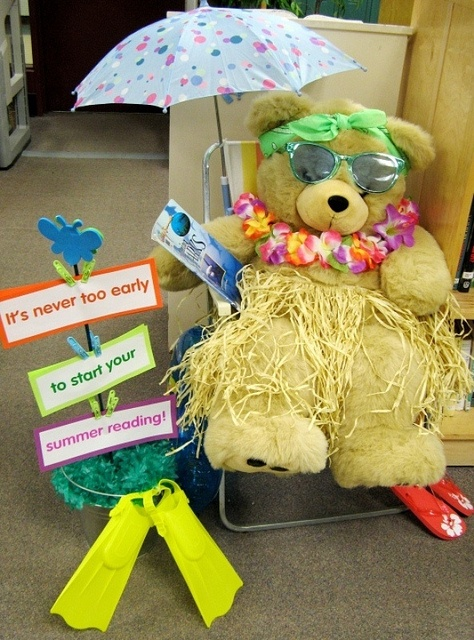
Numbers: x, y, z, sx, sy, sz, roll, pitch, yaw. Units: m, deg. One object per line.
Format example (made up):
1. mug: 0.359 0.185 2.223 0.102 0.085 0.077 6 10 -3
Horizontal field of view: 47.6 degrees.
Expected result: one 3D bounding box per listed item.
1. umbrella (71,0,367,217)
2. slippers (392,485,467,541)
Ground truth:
1. umbrella: -0.053 -0.544 1.105 0.476 0.161 0.480 25 43 27
2. slippers: 0.473 0.460 1.315 0.109 0.043 0.178 -22 43 -28
